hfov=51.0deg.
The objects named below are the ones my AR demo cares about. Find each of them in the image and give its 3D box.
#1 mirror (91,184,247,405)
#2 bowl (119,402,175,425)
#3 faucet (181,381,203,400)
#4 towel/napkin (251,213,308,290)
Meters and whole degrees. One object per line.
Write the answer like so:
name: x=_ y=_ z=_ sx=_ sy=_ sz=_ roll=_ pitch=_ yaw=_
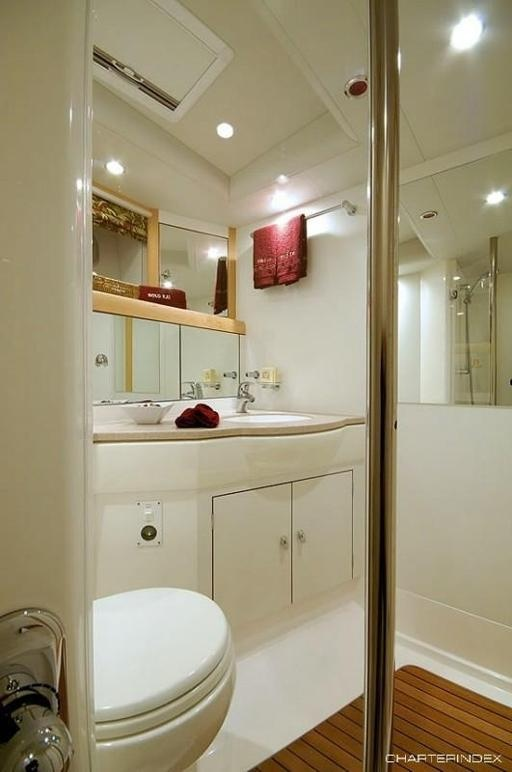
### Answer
mirror: x=-0.309 y=-0.266 z=1.854 sx=0.144 sy=0.532 sz=0.873 roll=3 pitch=1 yaw=24
bowl: x=-0.290 y=0.079 z=1.484 sx=0.109 sy=0.043 sz=0.156 roll=3 pitch=1 yaw=8
faucet: x=-0.230 y=0.021 z=1.943 sx=0.026 sy=0.086 sz=0.108 roll=-2 pitch=-7 yaw=25
towel/napkin: x=0.095 y=-0.513 z=2.038 sx=0.033 sy=0.251 sz=0.228 roll=-6 pitch=8 yaw=-44
